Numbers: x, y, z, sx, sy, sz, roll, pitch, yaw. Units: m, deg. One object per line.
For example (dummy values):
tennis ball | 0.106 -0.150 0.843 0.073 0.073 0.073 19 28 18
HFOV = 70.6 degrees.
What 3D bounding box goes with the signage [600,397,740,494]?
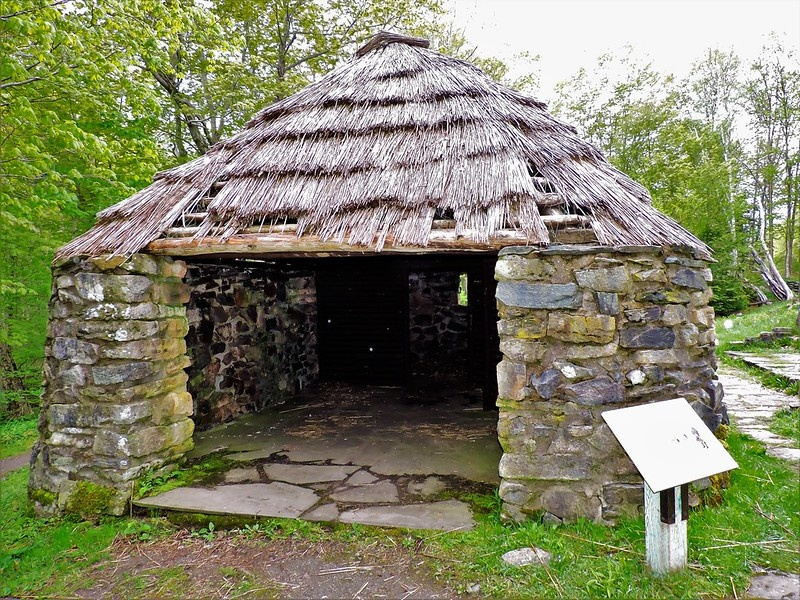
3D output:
signage | 2.232 1.273 4.990 1.225 0.740 0.117 -13 -35 -26
